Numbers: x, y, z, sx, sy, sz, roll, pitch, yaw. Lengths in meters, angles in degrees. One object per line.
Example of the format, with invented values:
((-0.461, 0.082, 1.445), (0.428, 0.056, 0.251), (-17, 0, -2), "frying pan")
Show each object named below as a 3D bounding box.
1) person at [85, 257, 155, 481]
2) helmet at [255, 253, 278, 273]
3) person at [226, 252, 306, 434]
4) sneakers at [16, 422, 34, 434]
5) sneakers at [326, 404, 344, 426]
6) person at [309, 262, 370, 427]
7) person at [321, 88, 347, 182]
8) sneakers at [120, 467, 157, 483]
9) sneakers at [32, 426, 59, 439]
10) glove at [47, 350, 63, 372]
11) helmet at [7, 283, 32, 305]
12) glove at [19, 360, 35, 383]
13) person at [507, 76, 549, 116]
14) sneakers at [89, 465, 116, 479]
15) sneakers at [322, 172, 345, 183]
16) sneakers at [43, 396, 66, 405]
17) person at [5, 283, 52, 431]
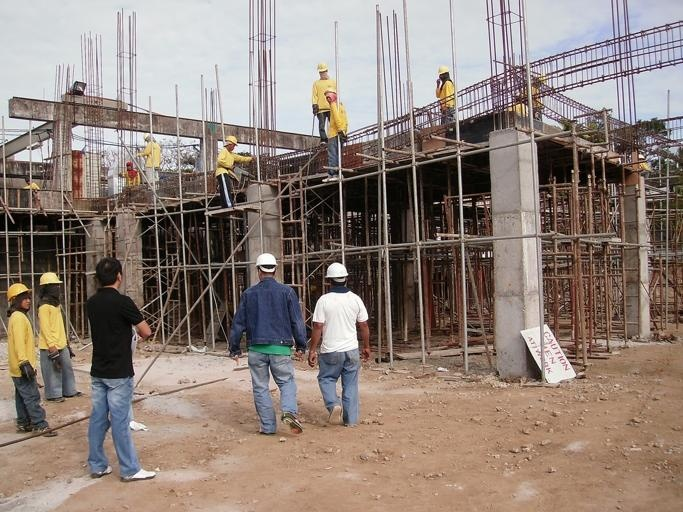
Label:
((-2.830, 1.407, 8.993), (0.779, 2.784, 0.577), (-4, 5, -21), "person")
((-1.112, 0.083, 10.455), (0.230, 0.177, 0.328), (0, 3, -14), "helmet")
((-1.008, 1.419, 10.260), (1.029, 2.201, 0.548), (0, 5, 23), "person")
((-4.705, 2.552, 10.655), (0.273, 0.136, 0.105), (2, -1, -43), "sneakers")
((-0.086, 2.315, 10.425), (0.154, 0.299, 0.124), (5, 10, -1), "sneakers")
((-0.055, 1.276, 10.697), (0.901, 2.375, 0.802), (-2, 5, -1), "person")
((-0.111, -2.763, 15.805), (0.455, 1.890, 0.689), (-2, 5, 0), "person")
((-2.530, 2.709, 8.950), (0.409, 0.181, 0.151), (-2, -3, -17), "sneakers")
((-4.354, 2.585, 10.504), (0.387, 0.178, 0.142), (-2, -5, 2), "sneakers")
((-4.788, 1.743, 12.065), (0.249, 0.403, 0.107), (-7, 0, 42), "glove")
((-4.784, 0.503, 10.803), (0.300, 0.214, 0.402), (-22, -2, 22), "helmet")
((-4.550, 1.659, 10.416), (0.205, 0.267, 0.269), (-19, 16, -22), "glove")
((3.818, -3.366, 14.791), (0.711, 0.871, 2.149), (0, 5, 16), "person")
((-3.020, 2.747, 9.105), (0.262, 0.124, 0.113), (2, -4, -25), "sneakers")
((-0.205, -1.789, 15.994), (0.534, 0.232, 0.184), (1, 0, 40), "sneakers")
((-4.872, 2.453, 12.202), (0.285, 0.134, 0.106), (5, -7, -11), "sneakers")
((-4.635, 1.514, 10.603), (0.496, 2.209, 0.739), (-4, 5, -26), "person")
